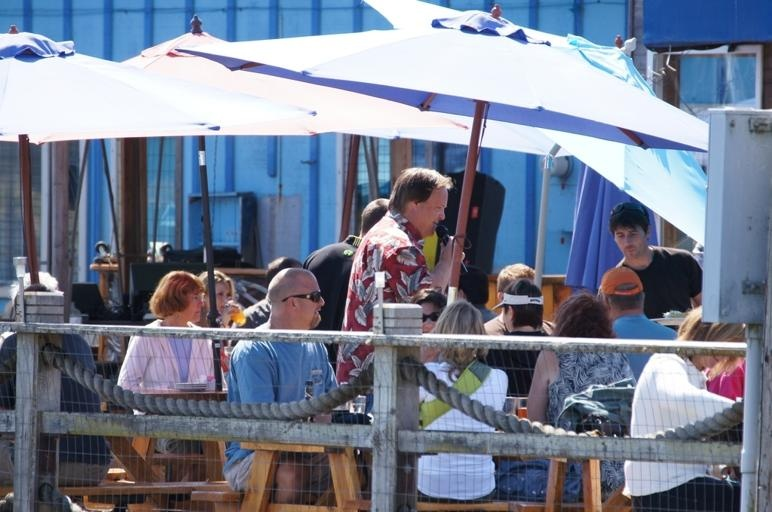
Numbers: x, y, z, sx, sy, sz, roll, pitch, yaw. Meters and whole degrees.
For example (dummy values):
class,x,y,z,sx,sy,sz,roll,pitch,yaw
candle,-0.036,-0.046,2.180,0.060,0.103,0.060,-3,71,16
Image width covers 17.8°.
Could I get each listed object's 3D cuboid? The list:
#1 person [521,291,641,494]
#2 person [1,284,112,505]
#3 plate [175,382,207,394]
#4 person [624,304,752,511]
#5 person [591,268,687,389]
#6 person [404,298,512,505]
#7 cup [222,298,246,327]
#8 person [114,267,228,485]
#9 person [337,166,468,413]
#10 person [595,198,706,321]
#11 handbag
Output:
class,x,y,z,sx,sy,sz,roll,pitch,yaw
person,1.747,1.494,21.240,0.993,2.110,0.657,3,-33,-3
person,-2.812,1.119,20.828,0.957,1.731,0.936,1,-3,-4
plate,-1.722,1.190,21.800,0.280,0.086,0.665,1,-3,-5
person,2.463,1.313,20.478,0.967,1.713,0.930,1,-3,5
person,2.180,0.667,21.428,0.606,1.444,0.472,-15,8,11
person,0.652,1.260,21.076,0.744,1.740,0.454,1,-3,2
cup,-1.444,0.555,23.239,0.153,0.162,0.397,14,13,-20
person,-1.768,1.123,22.273,1.025,1.927,1.066,5,-12,-42
person,0.027,0.471,22.054,0.851,2.696,0.863,-9,29,-30
person,2.405,0.053,22.670,0.737,1.001,0.638,-27,-6,38
handbag,1.824,1.240,20.969,0.798,0.248,0.594,0,16,-4
